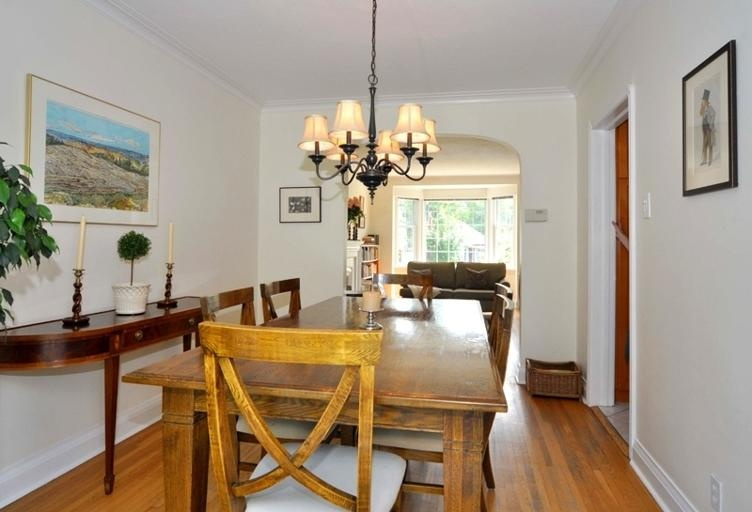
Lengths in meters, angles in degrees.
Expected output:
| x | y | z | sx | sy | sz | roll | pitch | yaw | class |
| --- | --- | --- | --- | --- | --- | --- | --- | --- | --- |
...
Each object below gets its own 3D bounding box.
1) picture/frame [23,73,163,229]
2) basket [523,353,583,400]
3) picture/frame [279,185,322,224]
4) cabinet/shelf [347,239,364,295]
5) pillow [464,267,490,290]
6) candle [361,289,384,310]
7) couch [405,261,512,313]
| x | y | z | sx | sy | sz | roll | pitch | yaw | class |
| --- | --- | --- | --- | --- | --- | --- | --- | --- | --- |
| -1.981 | -0.646 | 3.540 | 0.030 | 0.886 | 1.010 | 16 | 6 | 32 | picture/frame |
| 1.627 | 1.104 | 4.574 | 0.332 | 0.221 | 0.348 | -2 | -1 | 12 | basket |
| -0.788 | -0.551 | 5.256 | 0.371 | 0.344 | 0.030 | 0 | -1 | 4 | picture/frame |
| -0.367 | 0.235 | 8.317 | 0.153 | 0.754 | 0.423 | 8 | -17 | -33 | cabinet/shelf |
| 1.684 | 0.378 | 8.278 | 0.317 | 0.340 | 0.122 | -1 | -18 | 19 | pillow |
| -0.020 | 0.268 | 3.107 | 0.118 | 0.137 | 0.122 | 1 | 1 | -3 | candle |
| 1.319 | 0.548 | 8.412 | 1.785 | 0.945 | 0.845 | 1 | -1 | 9 | couch |
